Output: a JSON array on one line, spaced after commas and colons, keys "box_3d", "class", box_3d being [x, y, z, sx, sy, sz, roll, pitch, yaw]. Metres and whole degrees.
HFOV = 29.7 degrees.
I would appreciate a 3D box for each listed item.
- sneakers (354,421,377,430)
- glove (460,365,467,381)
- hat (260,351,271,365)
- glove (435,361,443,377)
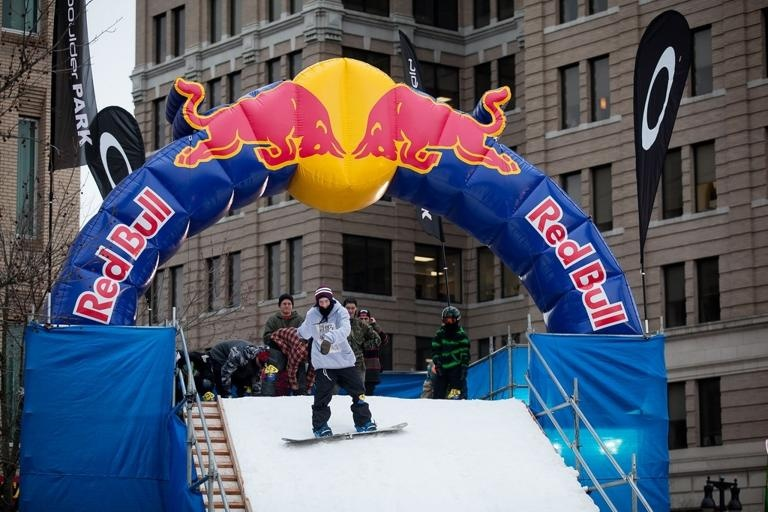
[{"box_3d": [-0.344, 3.693, 31.384, 0.373, 0.140, 0.199, 5, -8, -17], "class": "sneakers"}, {"box_3d": [1.951, 2.765, 34.338, 0.110, 0.285, 0.211, -3, -18, 16], "class": "glove"}, {"box_3d": [-2.687, 2.358, 33.561, 0.256, 0.281, 0.292, 1, -11, -6], "class": "hat"}, {"box_3d": [1.340, 2.676, 34.389, 0.105, 0.279, 0.204, -7, -8, -1], "class": "glove"}]
